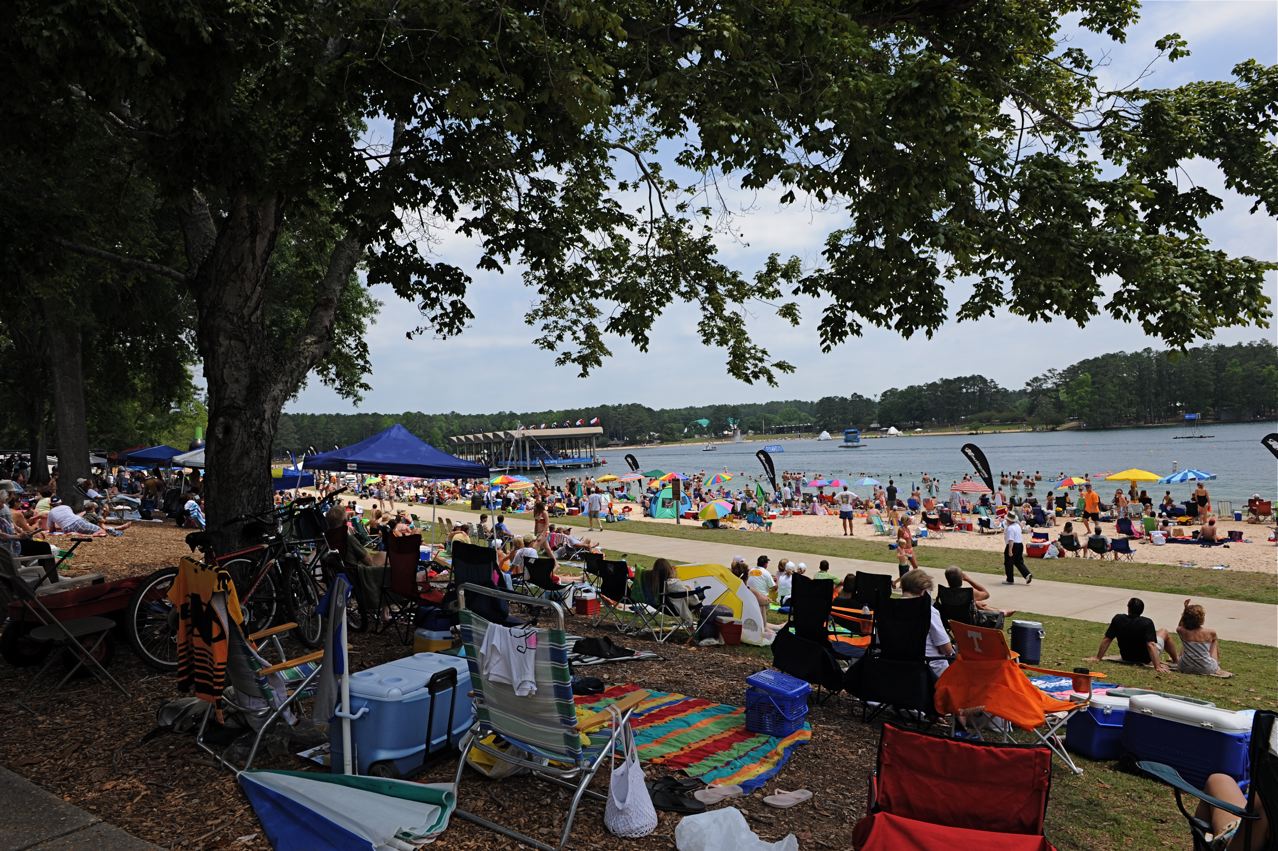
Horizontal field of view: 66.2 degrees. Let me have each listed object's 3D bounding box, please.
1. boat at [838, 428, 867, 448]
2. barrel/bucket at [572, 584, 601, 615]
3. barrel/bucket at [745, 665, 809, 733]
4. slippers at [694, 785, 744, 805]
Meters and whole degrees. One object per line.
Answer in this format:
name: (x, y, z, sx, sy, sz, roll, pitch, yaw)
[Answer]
boat: (41.427, 2.567, 188.751, 3.148, 3.031, 3.208, -10, 18, -13)
barrel/bucket: (-0.945, 3.186, 17.670, 0.377, 0.432, 0.448, 0, -5, -13)
barrel/bucket: (1.647, 3.404, 11.883, 0.735, 0.606, 0.698, 4, -2, 0)
slippers: (0.848, 3.910, 10.387, 0.521, 0.172, 0.264, 3, 0, -29)
